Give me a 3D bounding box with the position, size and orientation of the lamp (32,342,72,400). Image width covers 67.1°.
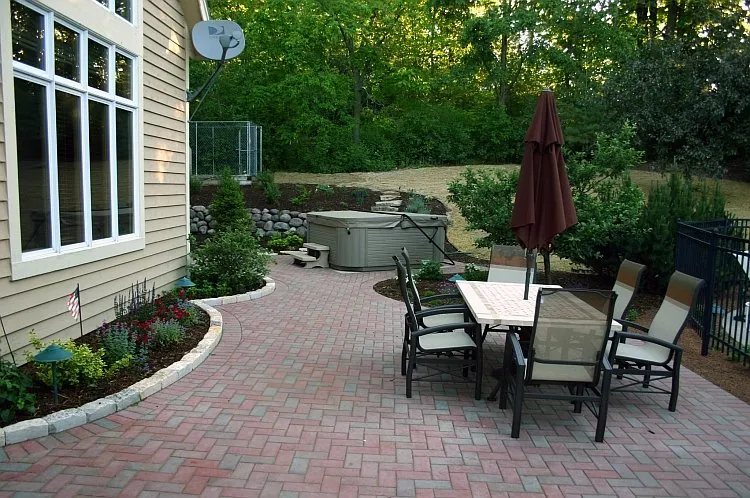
[{"bbox_3d":[-3.651,1.429,6.498,0.371,0.695,0.478,-6,13,-28],"label":"lamp"}]
